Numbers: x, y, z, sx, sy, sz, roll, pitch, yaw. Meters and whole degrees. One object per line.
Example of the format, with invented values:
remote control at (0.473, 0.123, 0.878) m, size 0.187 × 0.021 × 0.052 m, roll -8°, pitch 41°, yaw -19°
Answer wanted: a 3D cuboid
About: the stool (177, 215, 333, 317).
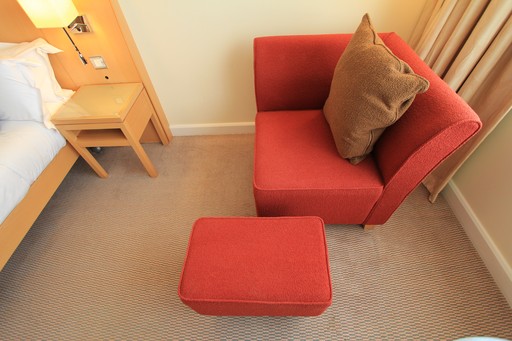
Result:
stool at (0.023, 0.622, 2.205) m, size 0.936 × 0.397 × 0.539 m, roll 1°, pitch 53°, yaw 7°
